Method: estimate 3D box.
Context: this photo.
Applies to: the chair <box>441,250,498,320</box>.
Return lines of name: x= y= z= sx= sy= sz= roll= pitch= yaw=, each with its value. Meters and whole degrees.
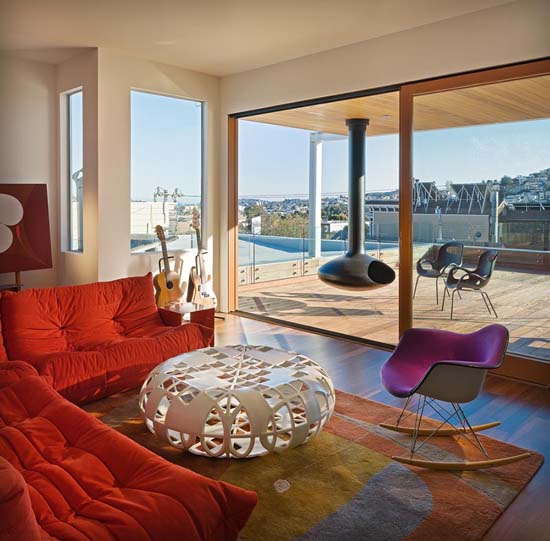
chair: x=1.793 y=0.104 z=3.749 sx=0.417 sy=0.510 sz=0.384 roll=-6 pitch=13 yaw=4

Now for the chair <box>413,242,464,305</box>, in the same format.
chair: x=1.551 y=0.011 z=3.895 sx=0.366 sy=0.478 sz=0.379 roll=10 pitch=20 yaw=37

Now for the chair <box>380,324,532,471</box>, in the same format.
chair: x=1.059 y=0.716 z=2.491 sx=0.773 sy=0.664 sz=0.777 roll=-3 pitch=3 yaw=12
